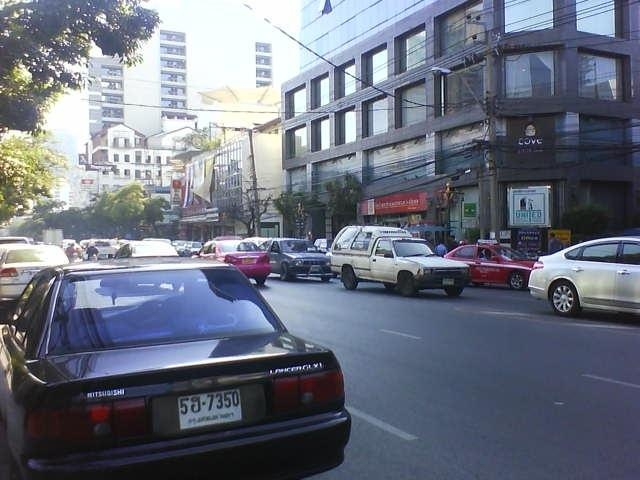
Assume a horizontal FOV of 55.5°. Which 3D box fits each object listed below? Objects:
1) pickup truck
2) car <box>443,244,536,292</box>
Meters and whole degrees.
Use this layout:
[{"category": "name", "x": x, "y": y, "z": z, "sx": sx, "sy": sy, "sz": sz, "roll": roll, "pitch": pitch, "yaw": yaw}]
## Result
[{"category": "pickup truck", "x": 2.567, "y": 0.669, "z": 19.334, "sx": 2.038, "sy": 2.231, "sz": 4.331, "roll": 1, "pitch": -2, "yaw": -30}, {"category": "car", "x": 6.146, "y": 0.956, "z": 21.704, "sx": 1.479, "sy": 1.328, "sz": 3.205, "roll": 2, "pitch": -4, "yaw": -41}]
